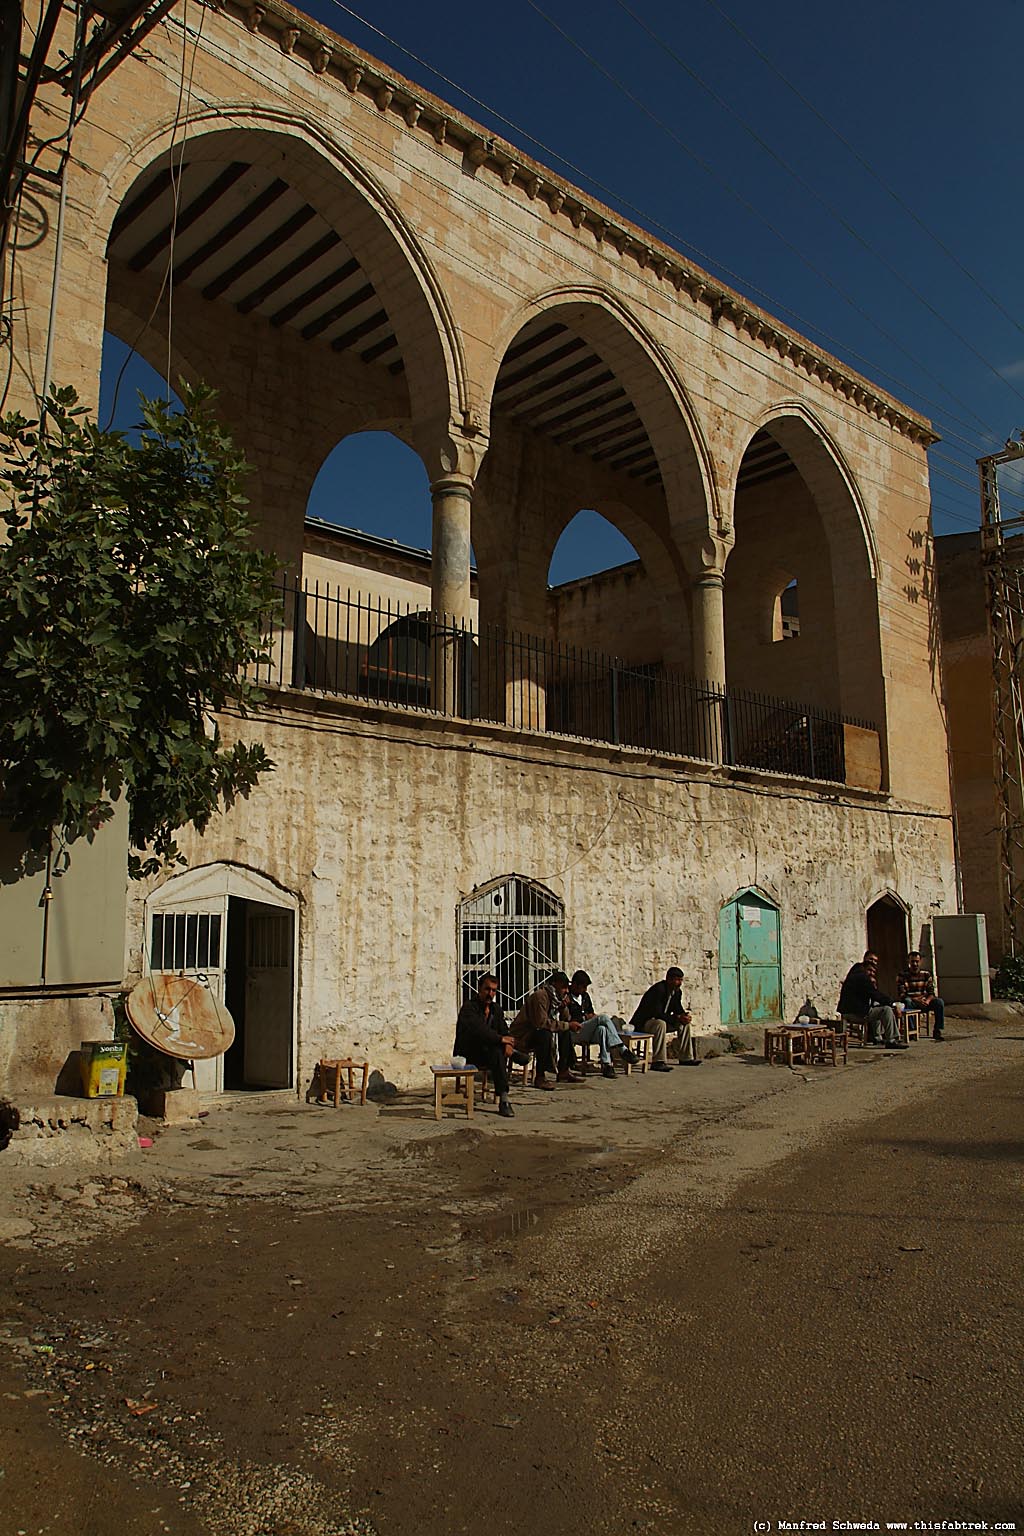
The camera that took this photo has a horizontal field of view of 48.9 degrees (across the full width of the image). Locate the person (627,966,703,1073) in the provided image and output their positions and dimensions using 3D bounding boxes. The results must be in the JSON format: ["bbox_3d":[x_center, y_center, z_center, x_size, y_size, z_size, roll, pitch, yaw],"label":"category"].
[{"bbox_3d":[1.640,2.671,12.086,0.646,1.058,0.559,-1,-5,41],"label":"person"}]

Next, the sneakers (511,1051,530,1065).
[{"bbox_3d":[0.080,2.650,10.312,0.226,0.092,0.247,-7,-13,35],"label":"sneakers"}]

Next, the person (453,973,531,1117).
[{"bbox_3d":[-0.234,2.182,8.905,0.441,1.019,0.697,0,-9,-3],"label":"person"}]

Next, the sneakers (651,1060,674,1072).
[{"bbox_3d":[1.562,3.119,11.824,0.241,0.096,0.426,-2,-9,6],"label":"sneakers"}]

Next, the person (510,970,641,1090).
[{"bbox_3d":[0.465,2.502,10.895,1.300,1.278,0.768,-8,-12,17],"label":"person"}]

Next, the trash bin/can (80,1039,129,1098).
[{"bbox_3d":[-2.608,1.934,7.238,0.317,0.467,0.354,1,-3,-15],"label":"trash bin/can"}]

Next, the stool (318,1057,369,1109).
[{"bbox_3d":[-1.406,2.670,9.600,0.407,0.458,0.424,1,-3,-38],"label":"stool"}]
